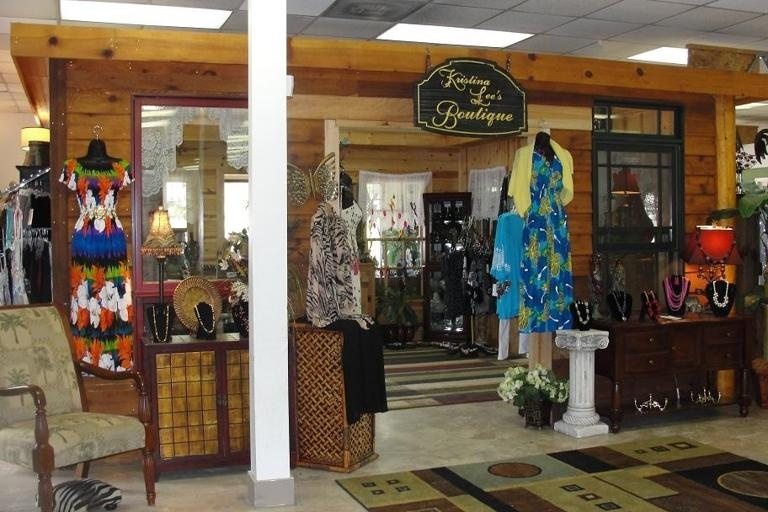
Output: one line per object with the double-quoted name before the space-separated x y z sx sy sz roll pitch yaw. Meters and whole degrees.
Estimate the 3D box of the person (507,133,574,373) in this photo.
"person" 1.705 -0.262 6.526 0.680 2.153 0.306 -1 4 5

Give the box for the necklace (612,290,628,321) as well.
"necklace" 2.491 0.532 6.333 0.175 0.285 0.136 1 4 23

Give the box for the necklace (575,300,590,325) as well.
"necklace" 2.152 0.618 6.429 0.242 0.261 0.126 -4 5 -40

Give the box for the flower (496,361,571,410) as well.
"flower" 1.614 1.321 6.467 0.571 0.318 0.550 2 2 18

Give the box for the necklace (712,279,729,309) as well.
"necklace" 3.755 0.425 6.705 0.158 0.292 0.110 0 4 16

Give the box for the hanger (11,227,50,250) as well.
"hanger" -3.609 -0.208 6.146 0.226 0.281 0.073 3 -15 -13

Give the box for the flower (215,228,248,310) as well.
"flower" -1.419 0.104 5.649 0.293 0.719 0.748 -2 4 -15

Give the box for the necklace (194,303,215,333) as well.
"necklace" -1.594 0.553 5.336 0.198 0.242 0.083 -9 -3 -28

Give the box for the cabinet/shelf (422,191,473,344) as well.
"cabinet/shelf" 1.152 0.207 10.298 0.681 2.632 1.049 -2 4 -19

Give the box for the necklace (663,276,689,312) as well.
"necklace" 3.313 0.433 6.783 0.242 0.425 0.280 2 5 33

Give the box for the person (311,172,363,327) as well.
"person" -0.477 -0.065 5.752 0.504 1.375 1.054 -1 4 -3

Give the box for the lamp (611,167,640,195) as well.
"lamp" 2.837 -0.871 7.008 0.400 0.334 0.114 -2 4 -19

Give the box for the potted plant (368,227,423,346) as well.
"potted plant" 0.235 0.536 10.564 1.007 1.981 0.637 -1 4 -4

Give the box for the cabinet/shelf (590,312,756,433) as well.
"cabinet/shelf" 3.051 1.246 6.447 1.360 0.779 0.453 -2 1 -19

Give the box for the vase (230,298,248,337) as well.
"vase" -1.294 0.551 5.367 0.161 0.319 0.088 0 4 5

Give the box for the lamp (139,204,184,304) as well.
"lamp" -2.092 -0.019 5.662 0.388 0.905 0.474 -2 4 -20
